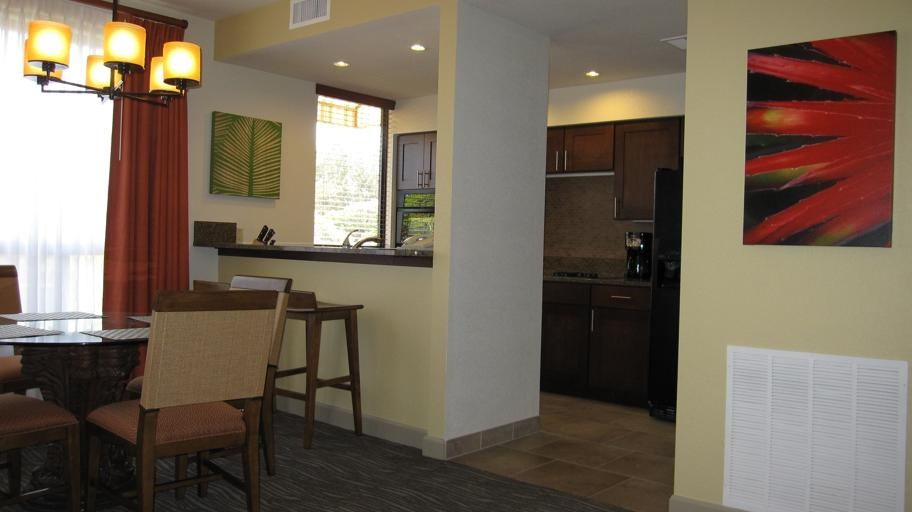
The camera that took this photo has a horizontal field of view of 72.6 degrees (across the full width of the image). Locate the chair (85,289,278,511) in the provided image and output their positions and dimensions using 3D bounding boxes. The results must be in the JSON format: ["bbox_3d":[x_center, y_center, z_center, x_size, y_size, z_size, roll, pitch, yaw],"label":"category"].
[{"bbox_3d":[-1.729,0.926,3.912,1.049,1.503,0.621,-2,12,-30],"label":"chair"}]

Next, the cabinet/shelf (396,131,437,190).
[{"bbox_3d":[-0.515,-1.223,7.916,0.175,0.752,0.658,-6,13,-42],"label":"cabinet/shelf"}]

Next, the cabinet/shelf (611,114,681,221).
[{"bbox_3d":[2.006,-0.943,6.631,0.710,1.097,0.203,7,11,17],"label":"cabinet/shelf"}]

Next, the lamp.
[{"bbox_3d":[-2.633,-1.590,4.663,1.042,0.858,1.370,-3,11,-33],"label":"lamp"}]

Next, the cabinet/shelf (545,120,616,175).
[{"bbox_3d":[1.459,-1.174,6.993,1.000,0.604,0.531,2,2,35],"label":"cabinet/shelf"}]

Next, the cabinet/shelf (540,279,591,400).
[{"bbox_3d":[1.174,0.883,6.667,0.579,1.226,0.197,7,11,18],"label":"cabinet/shelf"}]
